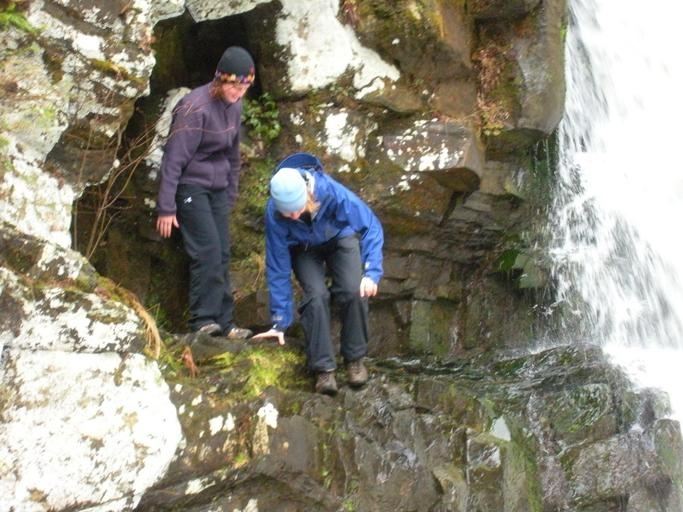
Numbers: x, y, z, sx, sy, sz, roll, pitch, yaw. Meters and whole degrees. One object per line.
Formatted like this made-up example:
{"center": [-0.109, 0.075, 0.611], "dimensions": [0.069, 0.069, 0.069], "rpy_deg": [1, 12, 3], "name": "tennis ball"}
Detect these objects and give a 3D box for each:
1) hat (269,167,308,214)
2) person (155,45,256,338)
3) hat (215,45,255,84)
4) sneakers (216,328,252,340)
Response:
{"center": [-0.482, -0.722, 10.440], "dimensions": [0.287, 0.358, 0.430], "rpy_deg": [7, 36, 7], "name": "hat"}
{"center": [-1.332, -0.582, 10.765], "dimensions": [0.928, 2.778, 0.734], "rpy_deg": [0, -1, -19], "name": "person"}
{"center": [-1.020, -1.830, 10.694], "dimensions": [0.367, 0.361, 0.406], "rpy_deg": [9, 1, 7], "name": "hat"}
{"center": [-1.079, 0.779, 10.995], "dimensions": [0.325, 0.170, 0.128], "rpy_deg": [-7, -15, 14], "name": "sneakers"}
